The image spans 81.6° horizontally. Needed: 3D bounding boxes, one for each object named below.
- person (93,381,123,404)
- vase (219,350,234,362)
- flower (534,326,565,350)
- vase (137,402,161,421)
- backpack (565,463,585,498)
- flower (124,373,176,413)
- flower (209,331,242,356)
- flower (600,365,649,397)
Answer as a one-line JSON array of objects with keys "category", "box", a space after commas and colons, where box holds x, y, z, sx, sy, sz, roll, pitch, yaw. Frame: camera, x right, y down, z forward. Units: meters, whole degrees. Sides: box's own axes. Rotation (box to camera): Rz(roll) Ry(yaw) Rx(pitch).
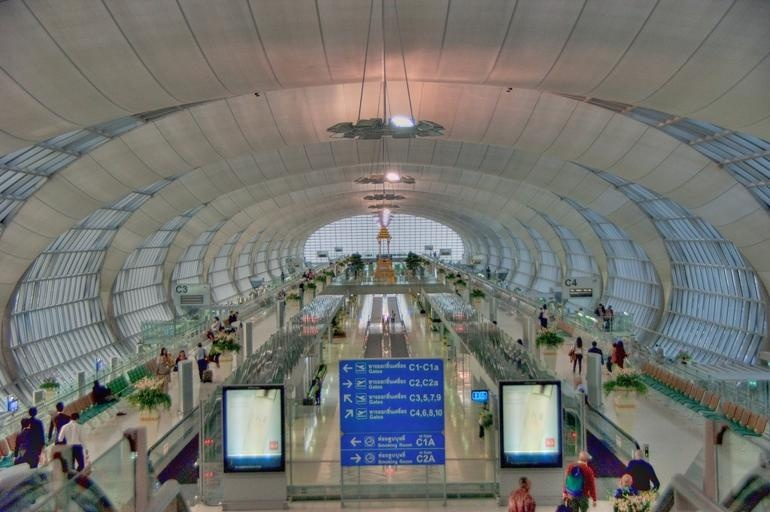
[{"category": "person", "box": [-10.009, 4.942, 16.079, 0.732, 0.647, 0.973, -2, 7, -4]}, {"category": "vase", "box": [-7.195, 4.555, 20.494, 0.475, 0.347, 0.481, 0, 2, 27]}, {"category": "flower", "box": [7.182, 3.585, 19.568, 1.241, 0.857, 1.245, 2, 6, 21]}, {"category": "vase", "box": [-7.285, 4.839, 13.862, 0.539, 0.371, 0.531, 0, 4, -1]}, {"category": "backpack", "box": [3.669, 4.336, 8.685, 0.377, 0.536, 0.238, -9, -29, 18]}, {"category": "flower", "box": [-7.336, 4.282, 14.346, 1.336, 0.942, 1.311, 0, 7, -3]}, {"category": "flower", "box": [-7.181, 3.949, 20.335, 1.099, 0.763, 1.066, 1, -4, -14]}, {"category": "flower", "box": [7.850, 4.140, 15.003, 1.295, 0.844, 1.268, 0, -6, -5]}]
